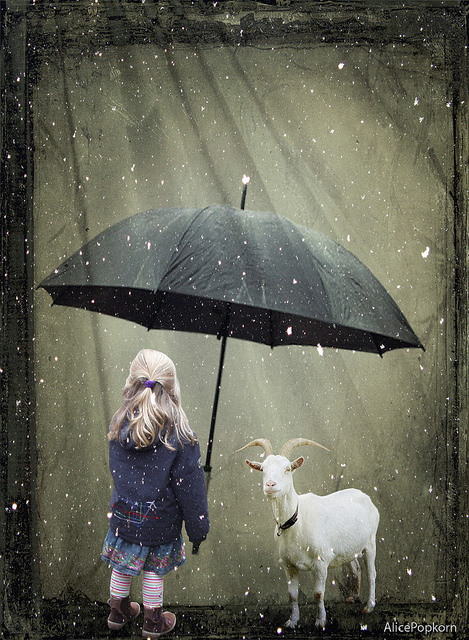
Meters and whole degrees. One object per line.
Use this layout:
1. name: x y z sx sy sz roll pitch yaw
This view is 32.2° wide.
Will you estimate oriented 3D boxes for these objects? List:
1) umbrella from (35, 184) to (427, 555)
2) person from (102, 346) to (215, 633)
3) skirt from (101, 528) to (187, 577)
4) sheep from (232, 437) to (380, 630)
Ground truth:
1. umbrella: -0.032 0.277 5.004 2.106 2.228 1.287 4 -4 4
2. person: -0.445 1.005 4.698 0.595 1.639 0.356 3 -4 -6
3. skirt: -0.528 1.332 4.639 0.465 0.253 0.116 5 -4 -1
4. sheep: 0.559 1.330 5.139 0.911 1.286 0.387 1 -3 -36
